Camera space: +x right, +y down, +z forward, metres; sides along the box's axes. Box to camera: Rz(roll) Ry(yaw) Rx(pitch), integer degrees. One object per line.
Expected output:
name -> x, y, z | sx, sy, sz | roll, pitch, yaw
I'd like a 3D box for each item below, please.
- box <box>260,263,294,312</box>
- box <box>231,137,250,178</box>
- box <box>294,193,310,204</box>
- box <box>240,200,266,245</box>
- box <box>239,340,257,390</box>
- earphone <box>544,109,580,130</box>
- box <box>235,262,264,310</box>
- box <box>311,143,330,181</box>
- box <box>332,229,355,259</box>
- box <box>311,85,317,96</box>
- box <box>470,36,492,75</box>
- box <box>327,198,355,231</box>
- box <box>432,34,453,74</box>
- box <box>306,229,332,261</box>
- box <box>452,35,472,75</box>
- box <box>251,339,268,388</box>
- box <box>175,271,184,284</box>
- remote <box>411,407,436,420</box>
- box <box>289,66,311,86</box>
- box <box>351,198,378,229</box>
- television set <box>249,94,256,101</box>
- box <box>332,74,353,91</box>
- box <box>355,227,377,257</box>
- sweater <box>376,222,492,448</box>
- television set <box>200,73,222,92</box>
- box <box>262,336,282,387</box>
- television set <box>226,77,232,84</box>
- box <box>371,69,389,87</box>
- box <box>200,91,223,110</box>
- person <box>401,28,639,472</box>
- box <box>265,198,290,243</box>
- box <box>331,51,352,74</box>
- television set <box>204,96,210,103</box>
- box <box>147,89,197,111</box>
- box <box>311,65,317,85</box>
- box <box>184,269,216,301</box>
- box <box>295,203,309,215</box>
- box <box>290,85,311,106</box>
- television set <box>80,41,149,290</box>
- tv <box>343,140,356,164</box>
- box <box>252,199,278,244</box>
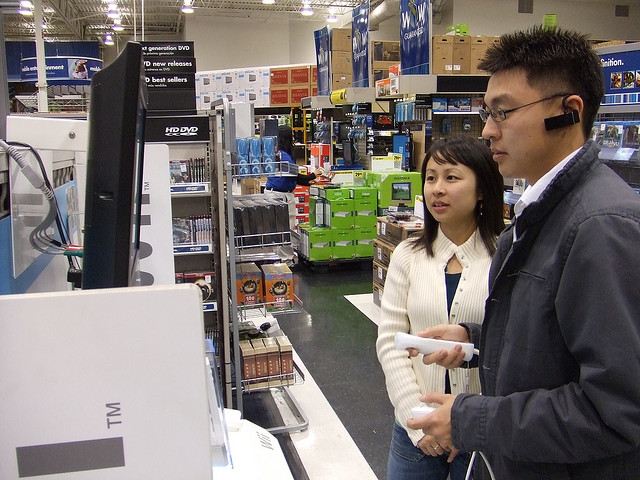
box -> -0.335, 0.379, 3.744 | 0.243, 0.362, 0.303 | -5, 12, -15
box -> -0.581, -0.626, 3.615 | 0.104, 0.330, 0.077 | -6, 42, -15
box -> -0.340, -0.752, 8.528 | 0.220, 0.186, 0.242 | 0, 35, 1
box -> -0.486, -0.111, 3.451 | 0.075, 0.271, 0.219 | -7, 14, -10
box -> -0.500, 0.915, 3.598 | 0.128, 0.325, 0.337 | -3, -4, -9
earphone -> 0.586, -0.290, 1.172 | 0.059, 0.027, 0.046 | -18, 12, -2
box -> -0.561, 0.352, 3.710 | 0.207, 0.336, 0.195 | 0, -2, -35
box -> -0.011, -1.403, 8.972 | 0.232, 0.750, 0.394 | -7, 14, -33
box -> 0.367, 0.056, 7.262 | 0.358, 0.408, 0.385 | 0, 2, 35
box -> -0.201, -4.214, 13.529 | 0.146, 0.260, 0.069 | 3, 11, 25
box -> 2.445, -2.837, 7.409 | 0.274, 0.621, 0.683 | 2, 12, 17
box -> 0.331, -0.301, 7.243 | 0.351, 0.533, 0.286 | 0, -33, -1
box -> 1.844, -2.798, 7.284 | 0.301, 0.567, 0.243 | 1, 11, 13
box -> -0.020, 0.069, 7.121 | 0.381, 0.439, 0.412 | -1, 2, -5
box -> 2.153, -2.845, 7.387 | 0.358, 0.597, 0.221 | -3, 10, -9
box -> -0.438, 0.897, 3.452 | 0.085, 0.312, 0.255 | -3, 9, -4
box -> -1.062, 0.270, 3.611 | 0.059, 0.085, 0.118 | -2, 7, -6
remote -> 0.277, 0.454, 1.282 | 0.052, 0.023, 0.032 | -1, -4, -5
box -> -0.576, -4.618, 13.631 | 0.766, 0.592, 0.450 | 4, 13, 14
box -> 0.617, -0.397, 7.381 | 0.516, 0.431, 0.545 | 0, 2, 31
television set -> -1.978, -4.165, 14.024 | 0.179, 0.200, 0.105 | 4, 10, 23
box -> 0.460, -3.382, 10.277 | 0.347, 0.402, 0.370 | -2, 2, -13
box -> 0.702, 0.042, 7.414 | 0.375, 0.408, 0.336 | 1, -2, 5
sweater -> 0.411, 0.340, 1.809 | 0.411, 0.724, 0.483 | 2, 12, 20
television set -> -3.175, -4.580, 14.032 | 0.660, 0.523, 0.129 | -1, 10, 5
box -> -0.370, 0.939, 3.626 | 0.102, 0.312, 0.327 | 1, -14, -4
television set -> -2.641, -4.611, 14.028 | 0.221, 0.246, 0.130 | 0, 10, 1
box -> 1.256, -3.521, 10.261 | 0.350, 0.321, 1.006 | -1, 13, 6
box -> -3.044, -3.949, 13.447 | 0.635, 0.485, 1.649 | -5, 13, -12
person -> 0.496, 0.124, 1.235 | 0.532, 1.316, 0.480 | 2, 11, 20
box -> -0.321, -0.131, 3.525 | 0.088, 0.275, 0.290 | -2, 0, -13
box -> 0.456, -3.764, 10.235 | 0.367, 0.577, 0.543 | -1, 7, -1
television set -> -3.158, -3.906, 13.408 | 0.141, 0.189, 0.502 | -4, 13, -12
box -> -1.071, -1.011, 3.471 | 0.334, 0.147, 0.059 | -4, 11, -7
box -> -0.195, -4.581, 13.385 | 0.115, 0.493, 0.164 | -4, 10, -12
box -> -0.899, 0.351, 3.612 | 0.225, 0.198, 0.491 | -5, 13, -16
box -> -0.330, -0.553, 8.506 | 0.269, 0.293, 0.167 | -1, 15, -9
box -> -0.574, -4.133, 13.944 | 0.578, 0.685, 0.653 | -1, 7, 1
television set -> -0.409, -0.134, 0.942 | 0.154, 0.472, 0.133 | -6, 11, -24
tv -> 0.526, -1.599, 8.758 | 0.133, 0.445, 0.406 | -1, 4, -12
box -> -0.402, -0.118, 3.483 | 0.075, 0.265, 0.237 | -7, 10, -8
